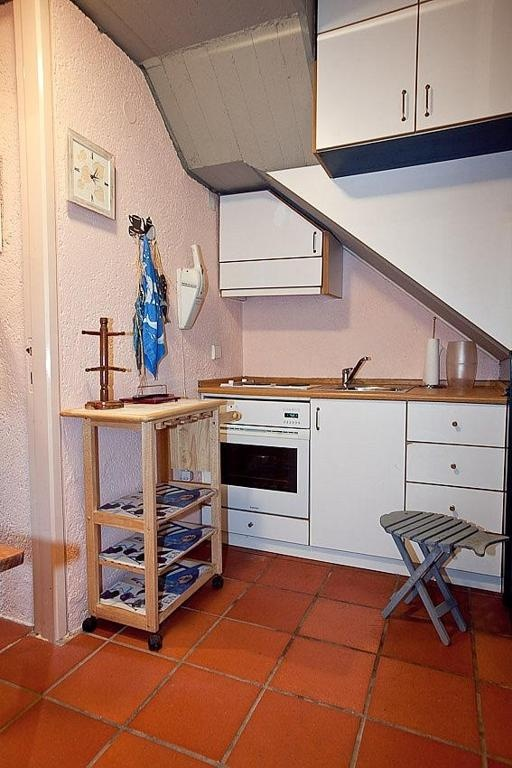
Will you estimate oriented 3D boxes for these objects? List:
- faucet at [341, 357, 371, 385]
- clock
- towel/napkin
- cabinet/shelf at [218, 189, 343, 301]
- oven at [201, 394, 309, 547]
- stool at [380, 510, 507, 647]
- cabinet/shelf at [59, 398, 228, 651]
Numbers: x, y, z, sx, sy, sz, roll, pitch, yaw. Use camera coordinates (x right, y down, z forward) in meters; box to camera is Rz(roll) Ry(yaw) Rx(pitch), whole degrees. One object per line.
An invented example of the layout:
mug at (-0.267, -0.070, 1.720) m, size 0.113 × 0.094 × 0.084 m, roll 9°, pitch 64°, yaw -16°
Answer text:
faucet at (0.513, -0.064, 2.976) m, size 0.099 × 0.150 × 0.342 m, roll 2°, pitch 7°, yaw 15°
clock at (-0.587, -0.743, 2.072) m, size 0.042 × 0.259 × 0.278 m, roll 2°, pitch 7°, yaw 13°
towel/napkin at (-0.435, -0.320, 2.467) m, size 0.096 × 0.607 × 0.292 m, roll 1°, pitch 7°, yaw 7°
cabinet/shelf at (0.121, -0.714, 2.899) m, size 0.510 × 0.475 × 0.204 m, roll 2°, pitch 3°, yaw 26°
oven at (0.101, 0.383, 2.879) m, size 0.576 × 0.880 × 0.574 m, roll 0°, pitch 0°, yaw 23°
stool at (0.656, 0.641, 2.146) m, size 0.290 × 0.501 × 0.530 m, roll -11°, pitch 8°, yaw -44°
cabinet/shelf at (-0.367, 0.445, 2.224) m, size 0.408 × 0.803 × 0.780 m, roll 3°, pitch 7°, yaw 18°
